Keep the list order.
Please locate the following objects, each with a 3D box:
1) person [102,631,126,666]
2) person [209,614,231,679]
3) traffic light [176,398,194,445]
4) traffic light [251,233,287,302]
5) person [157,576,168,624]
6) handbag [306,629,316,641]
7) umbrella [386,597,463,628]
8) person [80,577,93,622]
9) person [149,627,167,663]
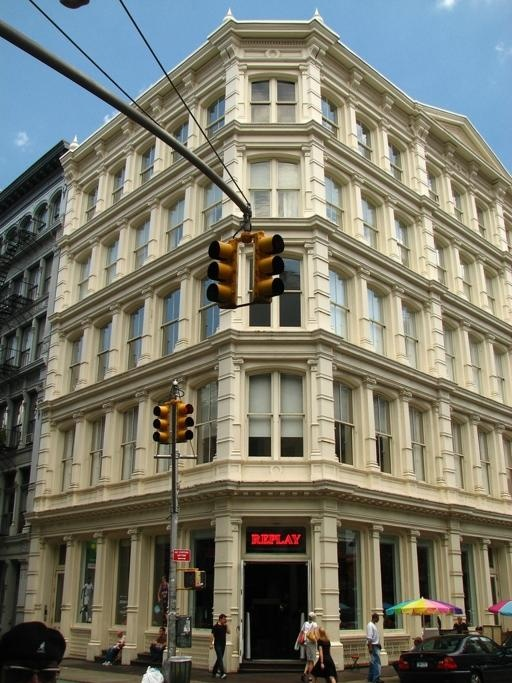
[{"bbox_3d":[-5.261,11.568,22.698,0.917,1.077,0.730,18,-28,-34],"label":"person"},{"bbox_3d":[-1.053,9.030,17.918,0.502,1.661,1.022,2,-23,-2],"label":"person"},{"bbox_3d":[-1.677,1.816,14.299,0.384,1.161,1.284,4,-23,-7],"label":"traffic light"},{"bbox_3d":[0.160,-1.063,7.813,0.372,1.210,0.721,1,-23,-1],"label":"traffic light"},{"bbox_3d":[-3.511,9.819,22.821,0.218,1.718,0.774,9,-25,-18],"label":"person"},{"bbox_3d":[1.478,7.695,15.737,0.238,0.408,0.346,8,-28,4],"label":"handbag"},{"bbox_3d":[5.394,8.588,19.386,2.598,0.809,2.537,0,-26,14],"label":"umbrella"},{"bbox_3d":[-7.401,11.435,26.411,0.319,1.675,1.306,14,-26,-27],"label":"person"},{"bbox_3d":[-3.390,10.587,20.999,0.481,1.126,1.313,6,-23,-12],"label":"person"}]
